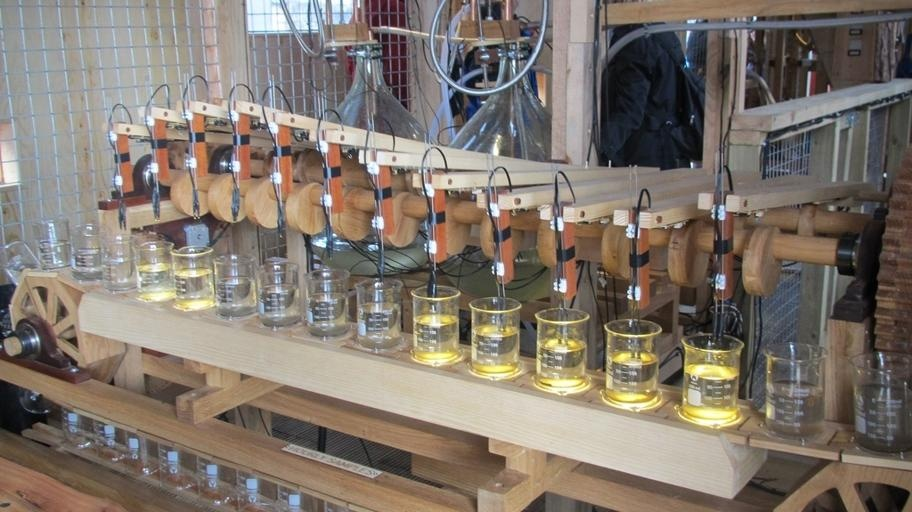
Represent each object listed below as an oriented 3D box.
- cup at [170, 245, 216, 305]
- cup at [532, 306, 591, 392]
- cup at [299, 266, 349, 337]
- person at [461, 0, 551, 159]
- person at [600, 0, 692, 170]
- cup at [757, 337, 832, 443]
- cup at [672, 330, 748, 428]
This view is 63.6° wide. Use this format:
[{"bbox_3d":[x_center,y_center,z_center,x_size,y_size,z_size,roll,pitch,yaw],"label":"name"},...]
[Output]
[{"bbox_3d":[-1.073,0.087,2.989,0.171,0.239,0.147,-7,14,-16],"label":"cup"},{"bbox_3d":[0.359,0.306,2.495,0.187,0.285,0.171,-3,14,1],"label":"cup"},{"bbox_3d":[-0.493,0.174,2.789,0.179,0.241,0.186,-3,13,1],"label":"cup"},{"bbox_3d":[0.194,-0.758,3.268,0.439,0.678,0.543,-2,13,6],"label":"person"},{"bbox_3d":[1.460,-1.215,5.804,0.487,1.027,1.468,-4,5,16],"label":"person"},{"bbox_3d":[1.083,0.431,2.348,0.181,0.282,0.168,-3,14,1],"label":"cup"},{"bbox_3d":[0.826,0.396,2.378,0.217,0.284,0.165,-2,14,7],"label":"cup"}]
